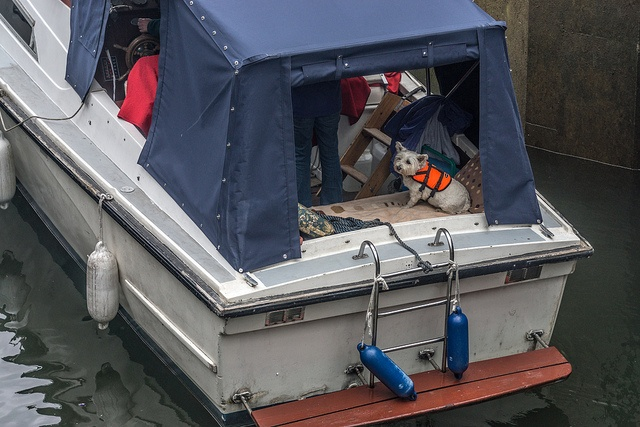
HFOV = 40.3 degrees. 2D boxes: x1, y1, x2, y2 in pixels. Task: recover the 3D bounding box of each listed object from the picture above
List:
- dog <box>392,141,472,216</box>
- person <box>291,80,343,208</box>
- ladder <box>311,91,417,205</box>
[{"bbox_3d":[0.895,-0.229,6.933,0.628,0.445,0.256,16,16,8],"label":"dog"},{"bbox_3d":[-0.030,-0.594,7.096,0.359,1.158,0.318,-5,33,-10],"label":"person"},{"bbox_3d":[0.461,-0.622,8.124,0.933,1.302,0.749,-11,42,-17],"label":"ladder"}]
